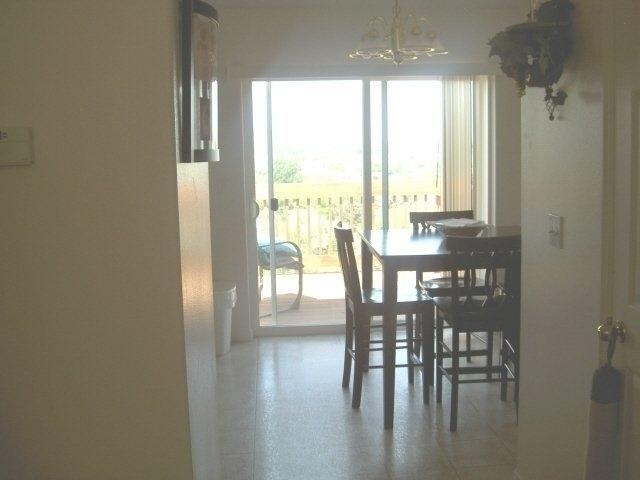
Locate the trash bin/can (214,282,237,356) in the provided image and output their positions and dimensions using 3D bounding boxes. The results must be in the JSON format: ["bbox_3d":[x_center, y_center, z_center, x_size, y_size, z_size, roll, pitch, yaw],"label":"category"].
[{"bbox_3d":[-0.695,0.582,4.342,0.160,0.488,0.271,-3,10,-10],"label":"trash bin/can"}]

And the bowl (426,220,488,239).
[{"bbox_3d":[0.855,-0.073,3.599,0.183,0.067,0.180,-1,9,0],"label":"bowl"}]

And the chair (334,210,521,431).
[{"bbox_3d":[0.560,0.398,3.549,0.982,0.931,1.123,-1,2,-6],"label":"chair"}]
